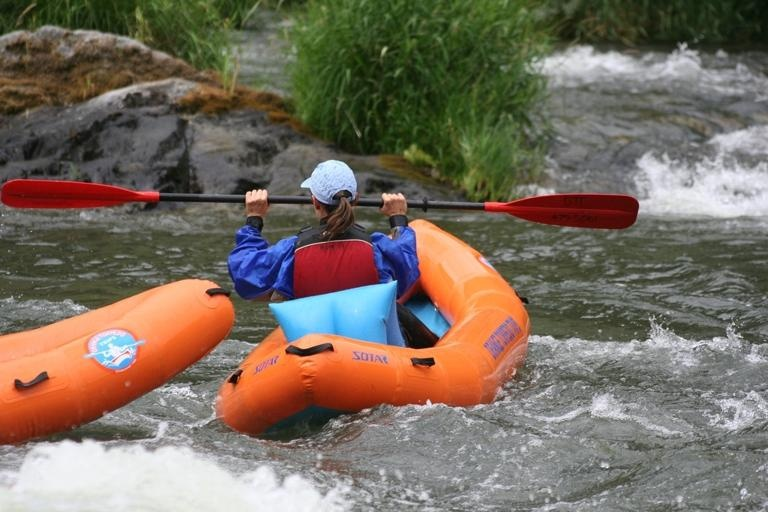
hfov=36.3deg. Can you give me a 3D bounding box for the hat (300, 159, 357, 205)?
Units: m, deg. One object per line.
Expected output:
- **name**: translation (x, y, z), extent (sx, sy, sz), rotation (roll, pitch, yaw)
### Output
- **hat**: translation (-0.449, -0.598, 9.500), extent (0.441, 0.321, 0.238), rotation (0, 20, -1)

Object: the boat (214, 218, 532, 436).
- **boat**: translation (0.226, 0.624, 9.579), extent (1.478, 0.706, 2.075), rotation (8, 28, 24)
